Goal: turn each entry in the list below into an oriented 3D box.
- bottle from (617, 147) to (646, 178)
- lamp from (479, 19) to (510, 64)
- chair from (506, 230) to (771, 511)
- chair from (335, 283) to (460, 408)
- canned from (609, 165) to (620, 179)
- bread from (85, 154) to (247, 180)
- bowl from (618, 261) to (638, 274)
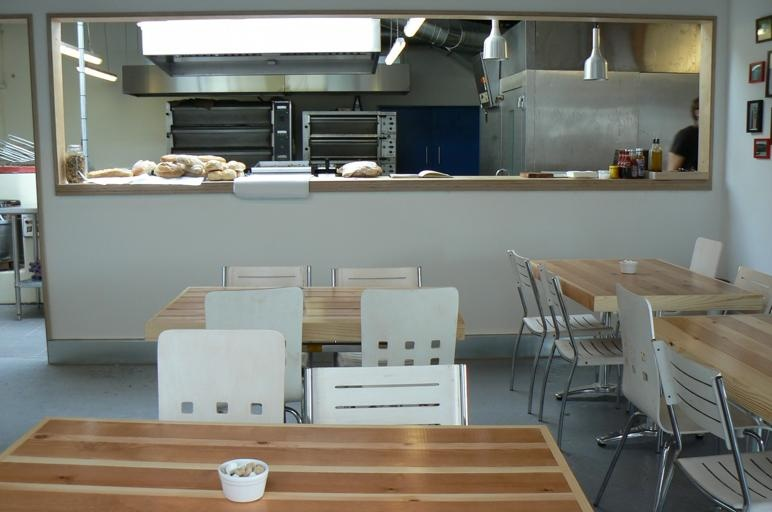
[{"bbox_3d":[2.176,-0.797,5.576,0.246,0.250,0.319,1,7,21],"label":"bottle"},{"bbox_3d":[0.955,-1.853,5.500,0.189,0.336,0.317,-1,7,7],"label":"lamp"},{"bbox_3d":[1.710,0.539,4.576,1.591,1.213,1.391,0,7,9],"label":"chair"},{"bbox_3d":[0.128,0.409,3.504,0.462,0.748,0.498,0,7,-4],"label":"chair"},{"bbox_3d":[2.001,-0.732,5.596,0.115,0.117,0.111,0,3,-2],"label":"canned"},{"bbox_3d":[-1.899,-0.769,5.647,1.302,0.245,0.495,-1,7,4],"label":"bread"},{"bbox_3d":[1.712,0.078,4.464,0.111,0.060,0.097,-2,7,-1],"label":"bowl"}]
